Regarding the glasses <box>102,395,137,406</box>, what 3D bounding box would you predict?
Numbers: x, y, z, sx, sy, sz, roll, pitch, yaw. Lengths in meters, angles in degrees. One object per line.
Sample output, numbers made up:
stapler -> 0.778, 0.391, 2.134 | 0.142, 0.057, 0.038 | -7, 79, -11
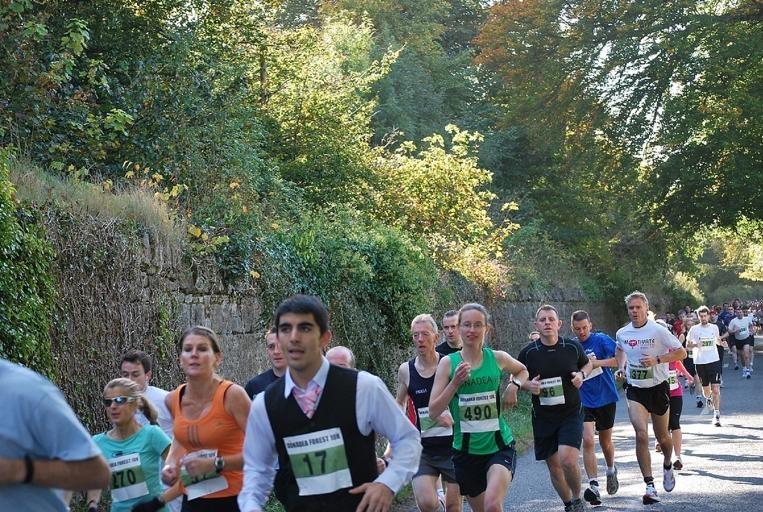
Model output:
glasses -> -3.565, 1.950, 14.282 | 0.417, 0.145, 0.102 | -2, -6, -16

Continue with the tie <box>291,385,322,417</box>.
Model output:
tie -> -0.890, 1.738, 12.644 | 0.263, 0.303, 0.098 | -19, -13, -7

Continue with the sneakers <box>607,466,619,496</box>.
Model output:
sneakers -> 3.892, 3.746, 17.708 | 0.204, 0.504, 0.173 | 22, -21, -33

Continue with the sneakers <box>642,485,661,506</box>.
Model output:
sneakers -> 4.383, 3.829, 17.024 | 0.274, 0.300, 0.335 | -5, -6, 14

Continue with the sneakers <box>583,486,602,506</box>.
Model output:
sneakers -> 3.447, 3.877, 17.075 | 0.257, 0.289, 0.258 | -5, -6, 10
